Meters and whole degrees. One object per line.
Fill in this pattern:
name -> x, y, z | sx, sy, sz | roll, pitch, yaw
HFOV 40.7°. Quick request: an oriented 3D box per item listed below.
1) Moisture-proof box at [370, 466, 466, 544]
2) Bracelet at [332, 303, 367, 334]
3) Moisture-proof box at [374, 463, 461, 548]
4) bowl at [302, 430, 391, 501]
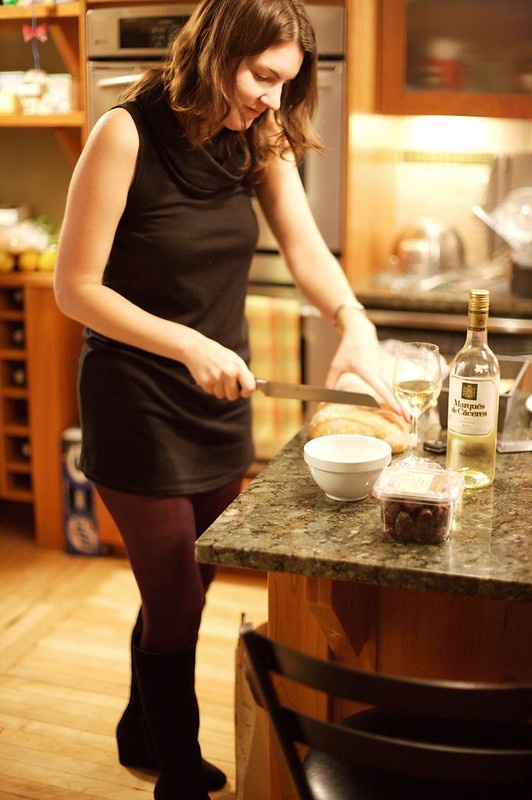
Moisture-proof box -> 0.188, 0.127, 0.883 | 0.109, 0.066, 0.136 | 5, 12, 27
Bracelet -> 0.158, -0.163, 1.368 | 0.058, 0.015, 0.054 | -3, 47, 2
Moisture-proof box -> 0.203, 0.114, 0.897 | 0.111, 0.058, 0.154 | 6, 22, 28
bowl -> 0.112, 0.079, 0.981 | 0.101, 0.055, 0.096 | -1, 13, 0
